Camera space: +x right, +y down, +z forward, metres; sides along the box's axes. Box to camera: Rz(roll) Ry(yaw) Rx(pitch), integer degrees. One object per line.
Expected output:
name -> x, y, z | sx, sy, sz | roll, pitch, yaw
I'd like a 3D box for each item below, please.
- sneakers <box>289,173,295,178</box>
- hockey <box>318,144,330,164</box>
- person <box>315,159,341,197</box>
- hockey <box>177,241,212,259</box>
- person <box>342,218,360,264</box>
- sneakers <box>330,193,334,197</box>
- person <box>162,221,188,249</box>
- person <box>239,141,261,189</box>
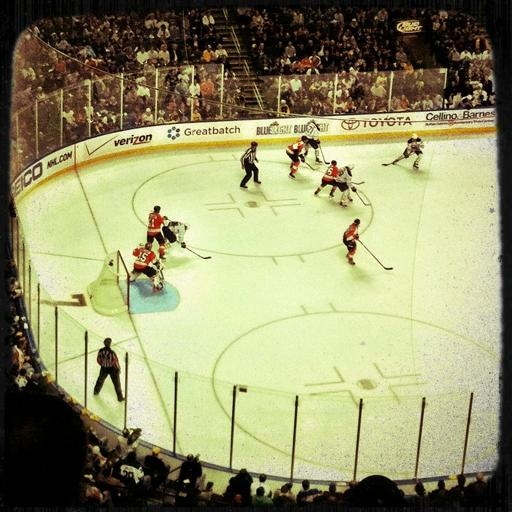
sneakers -> 1.101, -2.416, 22.857 | 0.138, 0.069, 0.208 | -13, -19, 37
hockey -> 2.194, -3.250, 24.589 | 0.283, 1.090, 0.062 | -23, 44, 0
person -> 1.975, -2.148, 21.378 | 0.723, 1.059, 1.543 | -3, 10, 4
hockey -> -1.449, -0.140, 17.895 | 0.846, 0.430, 0.437 | 3, 12, 32
person -> 2.258, -0.300, 18.036 | 0.386, 0.316, 1.065 | -18, -27, 1
sneakers -> 2.127, -1.703, 21.293 | 0.129, 0.124, 0.063 | 0, 54, 1
person -> -1.829, -0.537, 17.658 | 0.600, 0.552, 0.903 | 3, -14, -31
person -> -0.192, -2.584, 21.773 | 0.601, 1.308, 1.443 | -4, 10, 0
